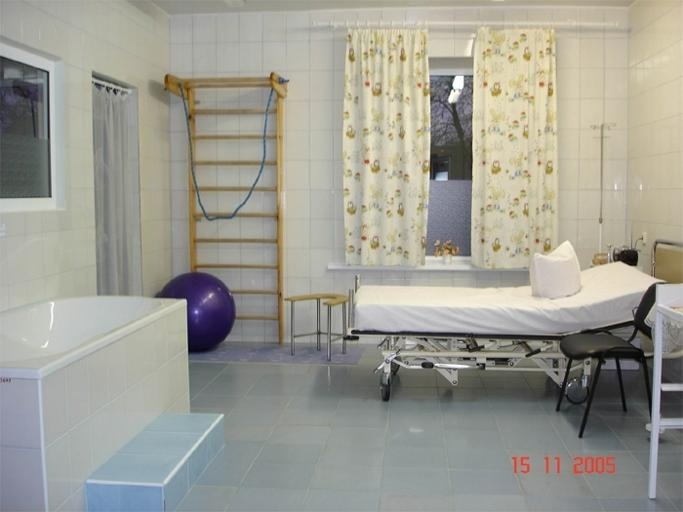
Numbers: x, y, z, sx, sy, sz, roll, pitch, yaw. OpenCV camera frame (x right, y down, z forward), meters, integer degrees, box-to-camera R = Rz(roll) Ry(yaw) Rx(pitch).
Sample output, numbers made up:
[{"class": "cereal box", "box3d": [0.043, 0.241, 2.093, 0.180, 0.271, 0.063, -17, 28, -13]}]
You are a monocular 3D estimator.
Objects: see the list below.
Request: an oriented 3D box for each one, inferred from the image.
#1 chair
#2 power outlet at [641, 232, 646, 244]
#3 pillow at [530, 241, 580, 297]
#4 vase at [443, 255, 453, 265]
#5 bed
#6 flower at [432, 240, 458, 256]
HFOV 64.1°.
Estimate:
[{"class": "chair", "box3d": [2.088, 0.754, 4.237, 0.690, 1.107, 0.638, 0, 6, -3]}, {"class": "power outlet", "box3d": [3.058, -0.191, 5.537, 0.049, 0.114, 0.108, -1, 3, 12]}, {"class": "pillow", "box3d": [1.865, 0.178, 4.667, 0.386, 0.420, 0.210, -4, -11, -14]}, {"class": "vase", "box3d": [1.173, 0.044, 6.127, 0.139, 0.151, 0.080, 0, -6, 1]}, {"class": "bed", "box3d": [1.319, 0.412, 4.854, 2.327, 1.053, 1.436, -1, 7, 4]}, {"class": "flower", "box3d": [1.162, -0.081, 6.104, 0.209, 0.132, 0.167, 5, -5, -31]}]
